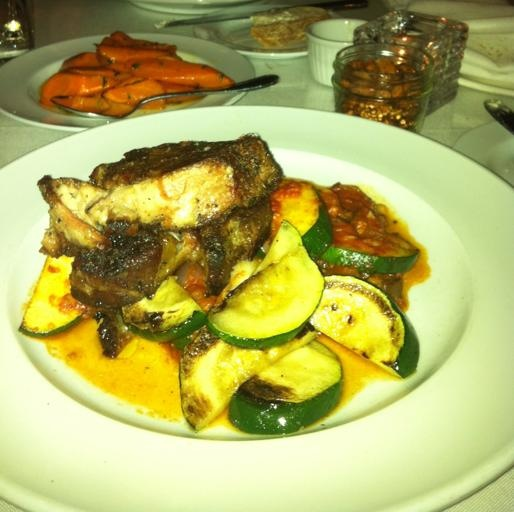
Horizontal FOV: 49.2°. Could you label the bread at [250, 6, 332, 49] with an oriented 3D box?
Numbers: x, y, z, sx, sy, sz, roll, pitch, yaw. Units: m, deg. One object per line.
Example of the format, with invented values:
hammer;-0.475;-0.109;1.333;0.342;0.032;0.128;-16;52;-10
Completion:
bread;0.189;-1.639;4.063;0.698;0.185;0.386;-13;44;-9
